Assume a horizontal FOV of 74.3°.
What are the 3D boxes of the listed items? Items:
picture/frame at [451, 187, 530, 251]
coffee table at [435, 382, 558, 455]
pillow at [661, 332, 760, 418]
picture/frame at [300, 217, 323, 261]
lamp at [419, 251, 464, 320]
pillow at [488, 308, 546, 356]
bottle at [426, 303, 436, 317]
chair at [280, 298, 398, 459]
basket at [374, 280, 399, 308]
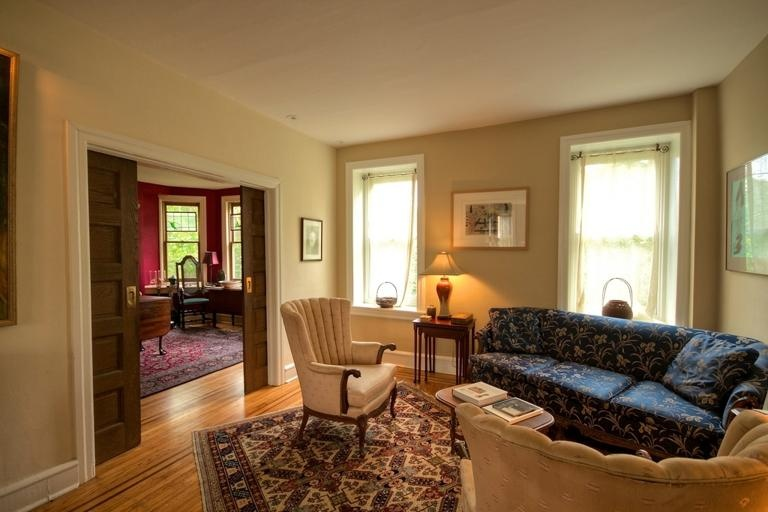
[{"bbox_3d":[1.317,-0.452,6.103,0.765,0.628,0.028,3,6,26],"label":"picture/frame"},{"bbox_3d":[0.889,1.250,3.910,0.408,0.411,0.782,-5,7,-25],"label":"coffee table"},{"bbox_3d":[2.852,1.017,4.395,0.184,0.579,0.597,29,13,-9],"label":"pillow"},{"bbox_3d":[-0.932,-0.221,6.436,0.049,0.609,0.560,3,2,24],"label":"picture/frame"},{"bbox_3d":[0.711,0.341,6.185,0.489,0.786,0.476,0,1,9],"label":"lamp"},{"bbox_3d":[1.437,0.802,5.557,0.523,0.506,0.162,3,-23,17],"label":"pillow"},{"bbox_3d":[0.574,0.663,6.149,0.118,0.120,0.119,-1,-8,11],"label":"bottle"},{"bbox_3d":[-0.452,1.153,5.408,1.238,1.484,1.323,-1,0,25],"label":"chair"},{"bbox_3d":[0.036,0.511,6.871,0.337,0.452,0.330,0,-5,10],"label":"basket"}]
